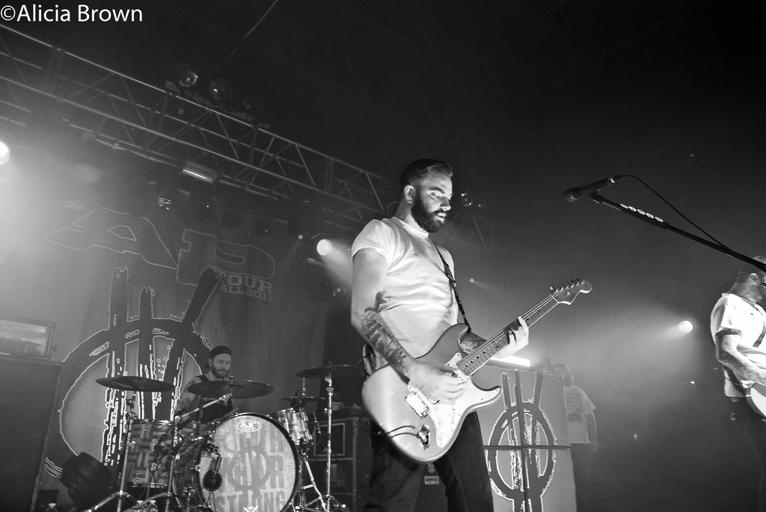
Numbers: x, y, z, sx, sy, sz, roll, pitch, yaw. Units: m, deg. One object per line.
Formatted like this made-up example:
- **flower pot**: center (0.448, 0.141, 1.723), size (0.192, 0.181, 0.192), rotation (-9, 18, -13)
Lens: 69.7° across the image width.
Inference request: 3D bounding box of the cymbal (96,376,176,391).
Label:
- **cymbal**: center (-3.430, 1.765, 7.690), size (0.970, 0.180, 0.578), rotation (-5, -22, 6)

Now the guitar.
- **guitar**: center (1.240, 1.361, 6.233), size (3.236, 1.163, 0.462), rotation (-41, -5, -21)

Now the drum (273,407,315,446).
- **drum**: center (-1.277, 2.489, 8.101), size (0.472, 0.441, 0.470), rotation (5, -14, -20)
